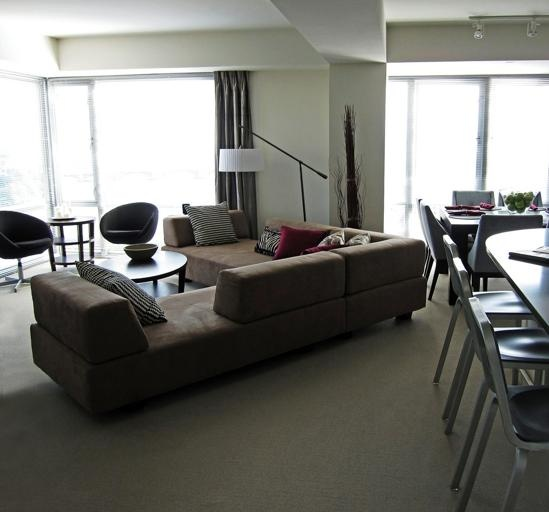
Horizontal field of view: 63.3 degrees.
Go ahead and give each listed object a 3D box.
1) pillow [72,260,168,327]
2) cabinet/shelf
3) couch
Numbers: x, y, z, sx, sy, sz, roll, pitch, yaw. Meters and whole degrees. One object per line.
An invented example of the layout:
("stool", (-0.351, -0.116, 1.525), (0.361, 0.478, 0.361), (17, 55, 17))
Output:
("pillow", (-0.944, 0.237, 2.630), (0.569, 0.314, 0.327), (6, 13, 31))
("cabinet/shelf", (-2.421, -0.119, 5.239), (0.578, 0.697, 0.586), (-1, 15, -5))
("couch", (-0.122, 0.302, 3.152), (2.819, 0.673, 0.878), (-9, 14, -34))
